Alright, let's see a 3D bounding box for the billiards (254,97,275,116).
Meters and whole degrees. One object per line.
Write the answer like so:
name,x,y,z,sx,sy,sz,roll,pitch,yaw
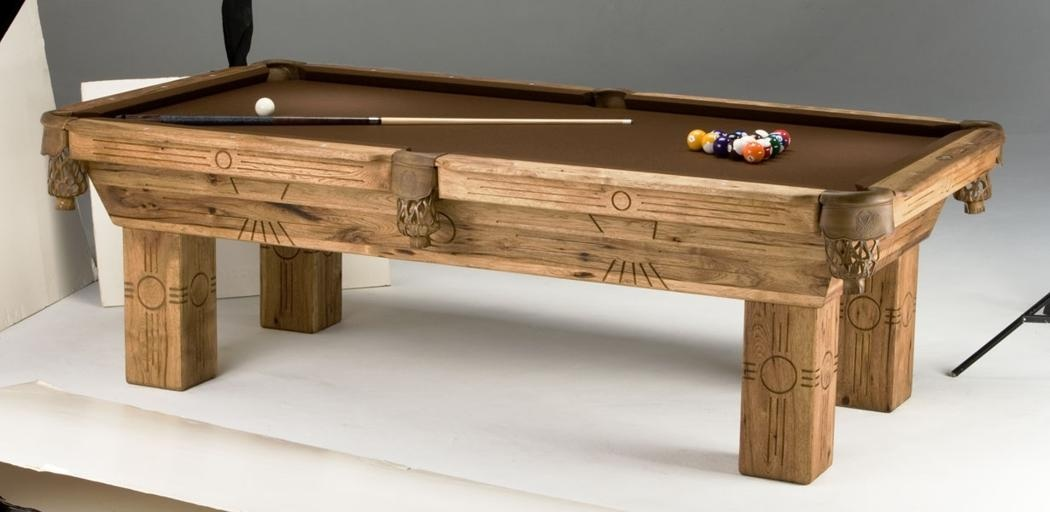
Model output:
billiards,-1.459,-0.860,4.957,0.160,0.131,0.110,1,-87,6
